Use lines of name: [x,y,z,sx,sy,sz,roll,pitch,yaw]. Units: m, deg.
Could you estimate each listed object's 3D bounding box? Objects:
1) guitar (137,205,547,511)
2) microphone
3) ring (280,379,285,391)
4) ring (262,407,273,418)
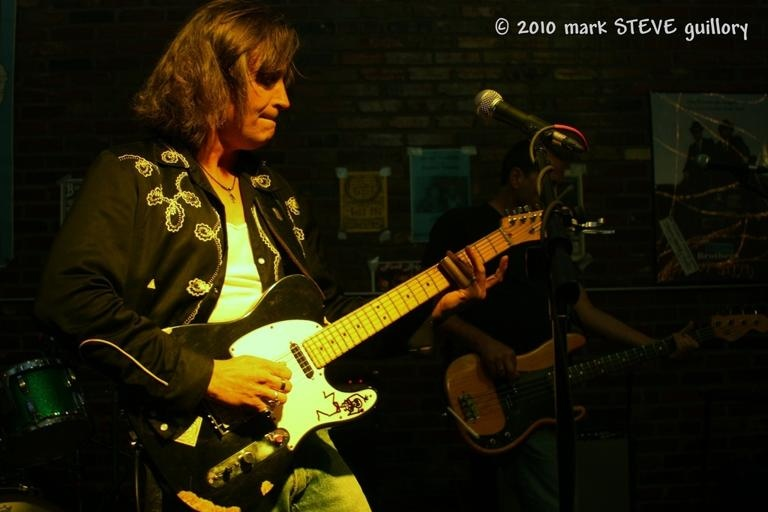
guitar: [-0.196,0.574,4.378,1.864,0.702,0.205,-28,-16,-4]
microphone: [0.792,-0.760,4.831,0.822,0.209,0.212,25,52,18]
ring: [-0.475,0.609,3.990,0.029,0.048,0.011,-2,4,-31]
ring: [-0.549,0.744,3.986,0.056,0.030,0.014,3,6,-14]
